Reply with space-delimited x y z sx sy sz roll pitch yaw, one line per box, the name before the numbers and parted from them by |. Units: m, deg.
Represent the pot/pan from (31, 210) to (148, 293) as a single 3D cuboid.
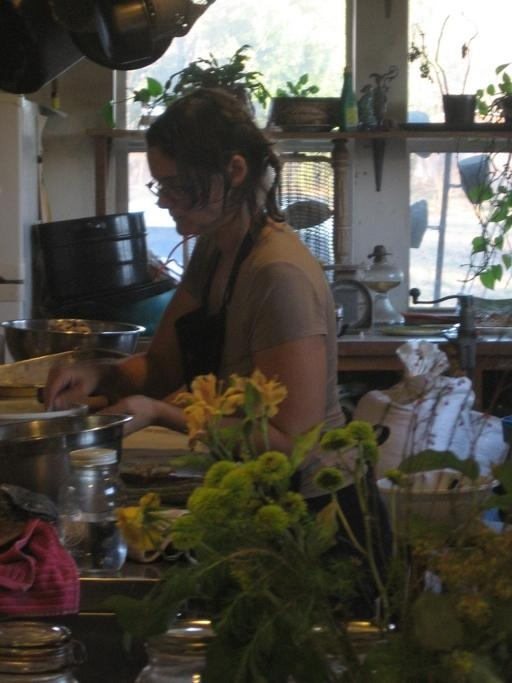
pot/pan | -0.282 -0.165 1.419 0.178 0.085 0.160 3 13 21
